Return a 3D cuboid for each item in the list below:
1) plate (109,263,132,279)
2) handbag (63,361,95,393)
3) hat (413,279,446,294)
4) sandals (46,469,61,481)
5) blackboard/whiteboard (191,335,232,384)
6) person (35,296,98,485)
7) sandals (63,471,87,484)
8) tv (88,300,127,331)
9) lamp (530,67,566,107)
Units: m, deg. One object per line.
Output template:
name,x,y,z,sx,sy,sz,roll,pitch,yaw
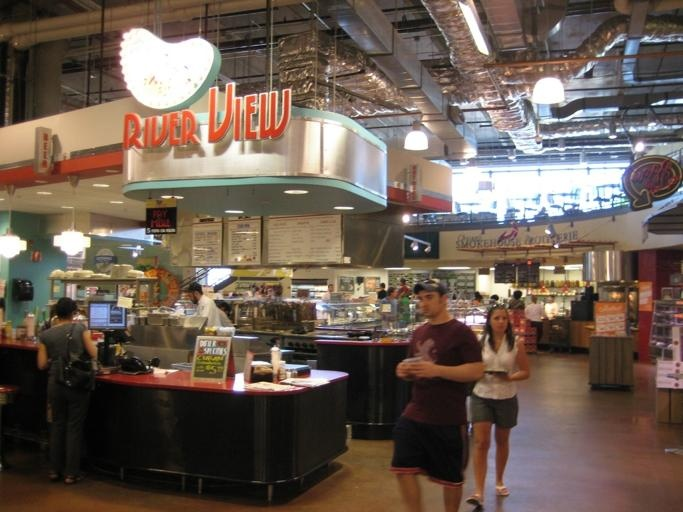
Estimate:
plate,-3.286,0.206,9.560,0.376,0.229,0.204,2,-3,-11
handbag,-2.877,1.323,7.130,0.393,0.322,0.281,-2,-1,6
hat,0.808,0.251,5.772,0.226,0.107,0.145,26,-24,-30
sandals,-3.286,2.516,7.307,0.112,0.110,0.168,5,-30,-15
blackboard/whiteboard,-1.455,1.180,7.238,0.482,0.499,0.292,2,-20,6
person,-3.145,1.518,7.375,0.574,2.087,0.677,2,-2,-33
sandals,-3.000,2.499,7.233,0.093,0.092,0.239,3,3,24
tv,-2.937,0.745,8.037,0.461,0.287,0.064,0,-3,-8
lamp,3.053,-2.530,9.454,0.424,0.412,0.271,0,-2,20
